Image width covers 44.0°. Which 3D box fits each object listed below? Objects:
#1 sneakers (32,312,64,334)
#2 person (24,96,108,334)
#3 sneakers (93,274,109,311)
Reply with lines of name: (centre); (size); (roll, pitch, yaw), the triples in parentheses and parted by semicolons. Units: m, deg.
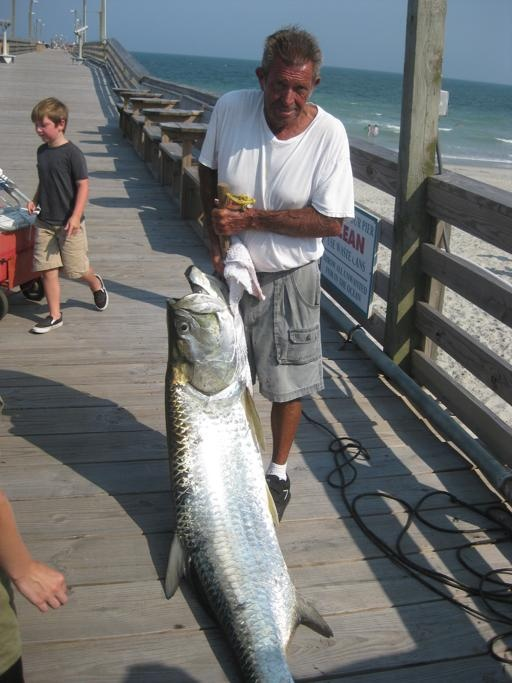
sneakers: (-1.405, -0.133, 4.296); (0.091, 0.086, 0.228); (15, 22, 22)
person: (-1.283, -0.833, 4.240); (0.486, 1.496, 0.536); (-2, 19, -12)
sneakers: (-1.166, -0.362, 4.721); (0.114, 0.286, 0.093); (-7, 4, 23)
